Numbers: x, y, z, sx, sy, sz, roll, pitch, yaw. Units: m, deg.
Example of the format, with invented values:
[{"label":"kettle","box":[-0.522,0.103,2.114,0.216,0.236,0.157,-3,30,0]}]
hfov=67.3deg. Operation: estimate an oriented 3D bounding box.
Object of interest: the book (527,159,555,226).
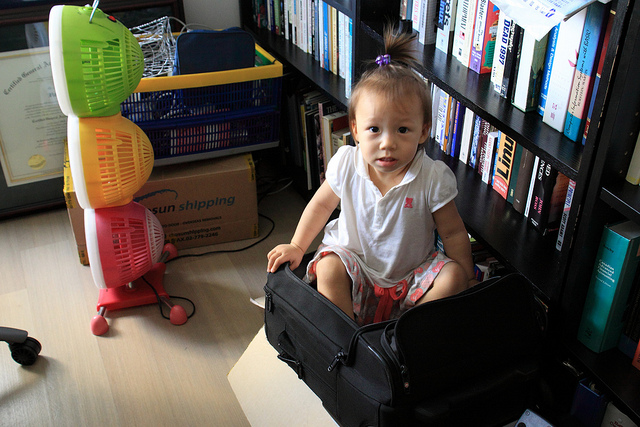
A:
[{"label":"book","box":[0.679,-0.065,1.478,0.030,0.186,0.064,-19,31,-27]}]

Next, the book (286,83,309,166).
[{"label":"book","box":[-0.112,-0.391,2.164,0.058,0.277,0.253,-2,0,-6]}]

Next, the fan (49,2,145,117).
[{"label":"fan","box":[-0.677,-0.469,1.458,0.260,0.295,0.098,-17,31,-23]}]

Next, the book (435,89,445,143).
[{"label":"book","box":[0.441,-0.353,1.772,0.026,0.123,0.118,8,5,12]}]

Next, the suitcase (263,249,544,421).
[{"label":"suitcase","box":[0.199,0.294,1.267,0.441,0.308,0.510,-25,47,-30]}]

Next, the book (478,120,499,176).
[{"label":"book","box":[0.567,-0.227,1.614,0.045,0.132,0.139,14,27,14]}]

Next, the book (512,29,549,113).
[{"label":"book","box":[0.593,-0.404,1.345,0.051,0.160,0.168,14,50,19]}]

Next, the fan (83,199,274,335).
[{"label":"fan","box":[-0.556,0.160,1.759,0.495,0.310,0.342,-10,48,-11]}]

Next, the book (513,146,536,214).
[{"label":"book","box":[0.646,-0.104,1.525,0.033,0.162,0.156,14,7,11]}]

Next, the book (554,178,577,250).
[{"label":"book","box":[0.713,-0.002,1.398,0.038,0.178,0.177,16,41,18]}]

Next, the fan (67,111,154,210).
[{"label":"fan","box":[-0.711,-0.181,1.675,0.229,0.334,0.330,-9,8,-15]}]

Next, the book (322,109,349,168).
[{"label":"book","box":[0.052,-0.299,2.002,0.079,0.134,0.127,3,71,9]}]

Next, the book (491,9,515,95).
[{"label":"book","box":[0.541,-0.475,1.417,0.062,0.185,0.191,7,37,8]}]

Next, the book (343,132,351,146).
[{"label":"book","box":[0.107,-0.304,1.913,0.031,0.042,0.062,-2,29,3]}]
